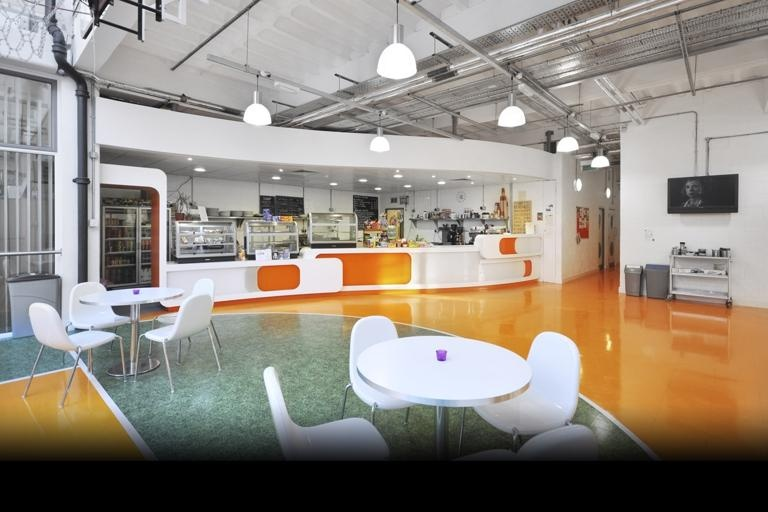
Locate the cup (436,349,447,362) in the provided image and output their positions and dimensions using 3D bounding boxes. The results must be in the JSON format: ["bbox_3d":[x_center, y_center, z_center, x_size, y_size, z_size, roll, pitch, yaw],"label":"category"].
[{"bbox_3d":[0.553,0.985,4.684,0.101,0.077,0.104,-2,3,0],"label":"cup"}]

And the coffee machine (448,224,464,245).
[{"bbox_3d":[1.887,-0.547,12.667,0.373,0.514,0.823,1,8,7],"label":"coffee machine"}]

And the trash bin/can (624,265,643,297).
[{"bbox_3d":[5.512,0.557,10.655,0.396,0.656,0.251,4,8,28],"label":"trash bin/can"}]

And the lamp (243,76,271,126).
[{"bbox_3d":[-1.895,-2.259,7.123,0.354,0.564,0.572,-2,8,-16],"label":"lamp"}]

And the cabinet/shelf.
[{"bbox_3d":[-2.546,-0.430,10.738,3.365,0.924,3.713,2,9,13],"label":"cabinet/shelf"}]

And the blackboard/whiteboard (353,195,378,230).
[{"bbox_3d":[-0.635,-1.383,14.851,0.057,1.328,1.335,-1,1,37],"label":"blackboard/whiteboard"}]

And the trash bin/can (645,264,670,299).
[{"bbox_3d":[5.894,0.569,10.372,0.498,0.706,0.233,6,9,37],"label":"trash bin/can"}]

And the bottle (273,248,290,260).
[{"bbox_3d":[-2.219,0.029,10.310,0.400,0.343,0.203,3,-7,-39],"label":"bottle"}]

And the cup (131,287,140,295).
[{"bbox_3d":[-3.467,0.497,6.696,0.110,0.077,0.102,0,3,0],"label":"cup"}]

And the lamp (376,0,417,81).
[{"bbox_3d":[0.140,-2.428,5.573,0.420,0.636,0.223,0,7,0],"label":"lamp"}]

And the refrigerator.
[{"bbox_3d":[-5.737,-0.212,10.667,1.019,1.854,0.410,-4,8,-30],"label":"refrigerator"}]
